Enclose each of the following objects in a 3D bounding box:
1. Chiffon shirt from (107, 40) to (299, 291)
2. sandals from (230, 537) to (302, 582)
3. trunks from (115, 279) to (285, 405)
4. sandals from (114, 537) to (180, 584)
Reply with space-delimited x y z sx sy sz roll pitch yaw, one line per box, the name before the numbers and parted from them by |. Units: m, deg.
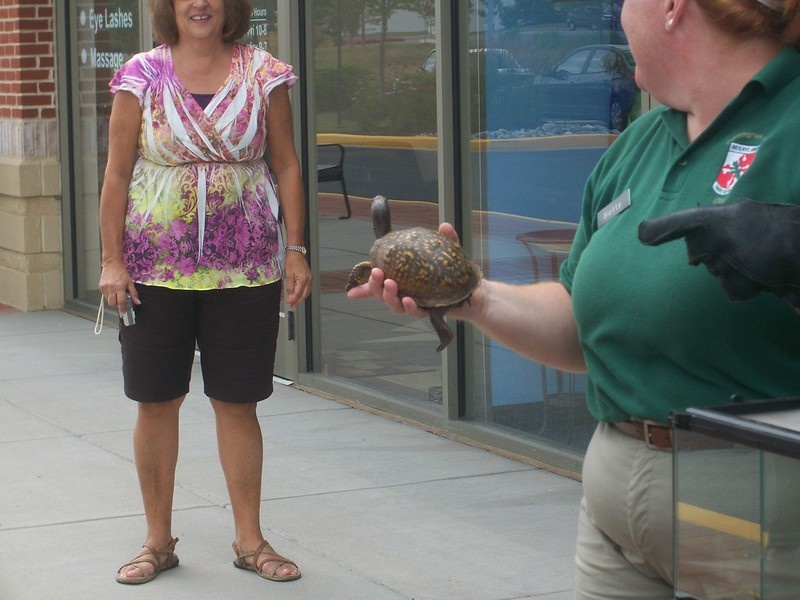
Chiffon shirt | -0.764 -0.521 3.715 0.700 0.935 0.319 -3 14 -6
sandals | -0.561 1.105 3.971 0.294 0.091 0.134 -1 3 32
trunks | -0.777 0.172 3.885 0.731 0.433 0.364 -1 -13 21
sandals | -1.053 1.104 3.963 0.124 0.089 0.273 0 3 39
